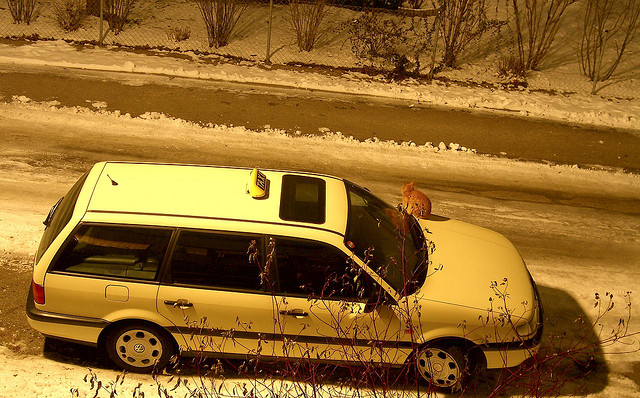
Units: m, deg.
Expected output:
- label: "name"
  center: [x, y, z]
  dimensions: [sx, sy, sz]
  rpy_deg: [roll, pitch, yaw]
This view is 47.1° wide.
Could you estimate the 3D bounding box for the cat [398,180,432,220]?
- label: "cat"
  center: [2.116, 0.062, 16.600]
  dimensions: [0.413, 0.632, 0.721]
  rpy_deg: [-19, 40, -18]
